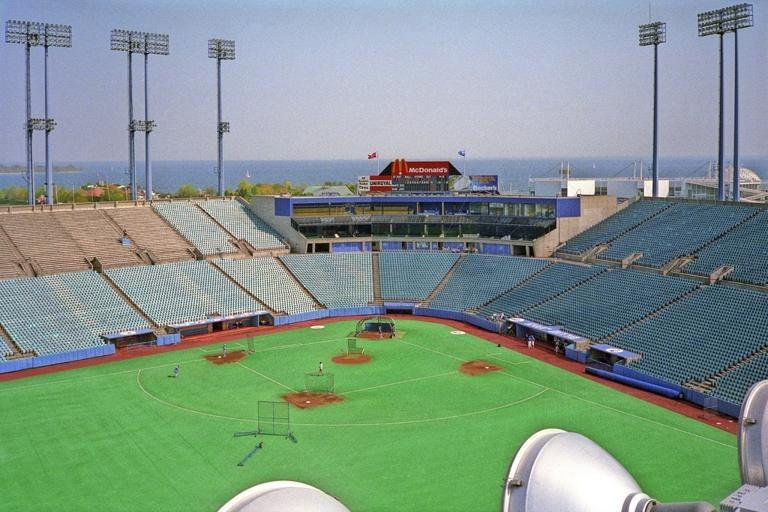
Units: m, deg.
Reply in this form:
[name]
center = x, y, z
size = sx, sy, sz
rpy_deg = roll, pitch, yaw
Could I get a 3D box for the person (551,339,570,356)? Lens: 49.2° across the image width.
[person]
center = 16.904, 8.385, 79.157
size = 1.348, 1.114, 3.223
rpy_deg = -2, 11, 4
